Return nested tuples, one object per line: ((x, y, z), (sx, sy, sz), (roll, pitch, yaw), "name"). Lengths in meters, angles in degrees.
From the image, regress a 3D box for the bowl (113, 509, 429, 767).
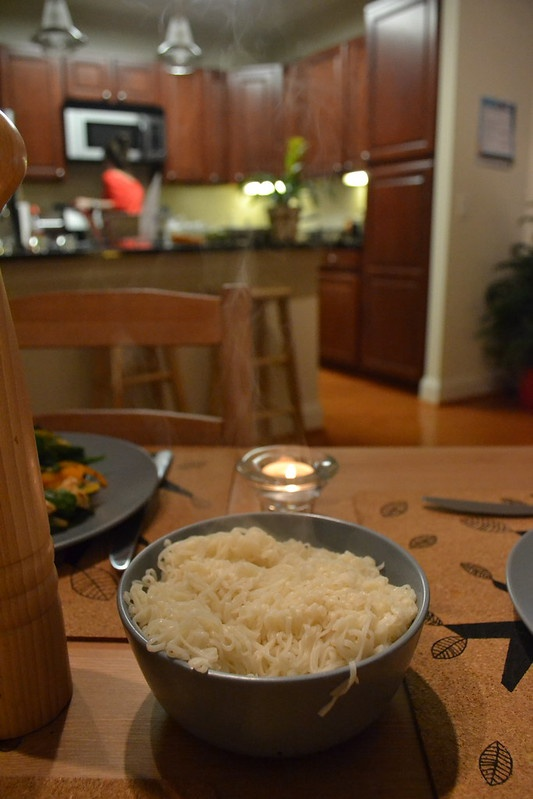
((0.004, 0.087, 0.270), (0.127, 0.043, 0.127), (-3, 17, 1), "bowl")
